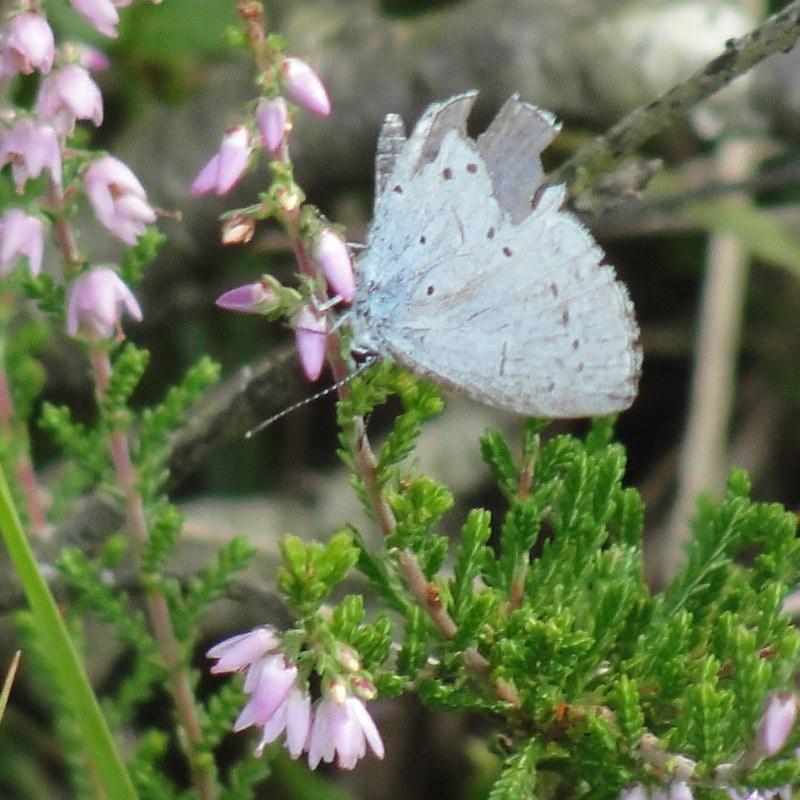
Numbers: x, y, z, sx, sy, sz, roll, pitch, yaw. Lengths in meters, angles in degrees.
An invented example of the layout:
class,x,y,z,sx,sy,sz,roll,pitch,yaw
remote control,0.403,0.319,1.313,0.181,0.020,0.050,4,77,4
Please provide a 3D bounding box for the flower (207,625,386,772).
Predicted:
class,x,y,z,sx,sy,sz,roll,pitch,yaw
flower,-0.191,0.543,2.899,0.254,0.127,0.267,20,57,-19
